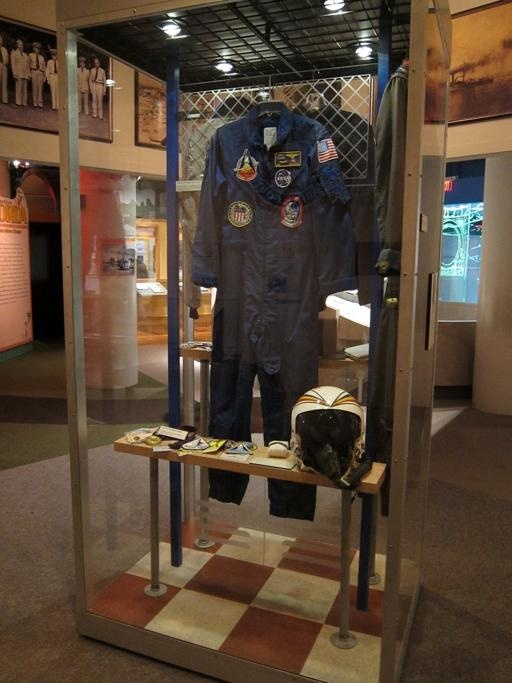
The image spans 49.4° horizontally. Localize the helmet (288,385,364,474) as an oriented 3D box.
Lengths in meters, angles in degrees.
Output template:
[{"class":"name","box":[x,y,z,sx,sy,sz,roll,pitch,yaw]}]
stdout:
[{"class":"helmet","box":[0.197,0.233,1.571,0.171,0.245,0.202,1,-4,5]}]
